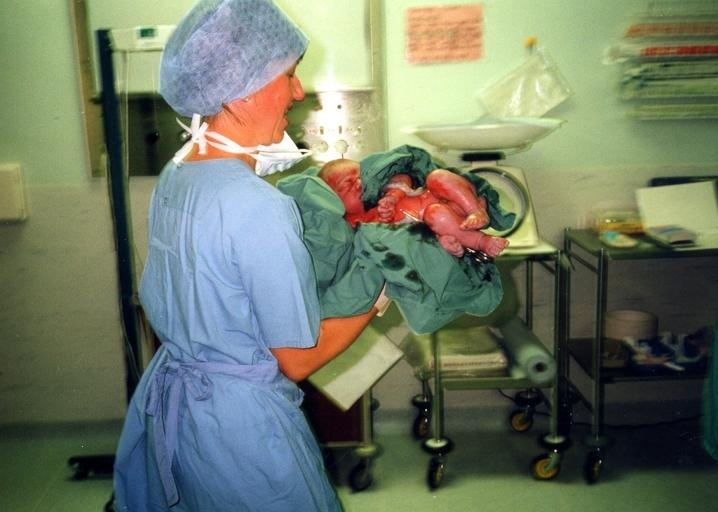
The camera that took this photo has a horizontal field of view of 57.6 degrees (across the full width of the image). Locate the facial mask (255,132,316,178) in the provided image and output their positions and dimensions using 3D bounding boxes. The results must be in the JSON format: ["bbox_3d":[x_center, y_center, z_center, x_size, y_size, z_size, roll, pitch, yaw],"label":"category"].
[{"bbox_3d":[-0.241,-0.291,1.875,0.225,0.108,0.150,-10,15,-22],"label":"facial mask"}]

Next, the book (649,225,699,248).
[{"bbox_3d":[1.247,-0.078,2.582,0.160,0.061,0.203,-1,12,7],"label":"book"}]

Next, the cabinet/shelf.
[{"bbox_3d":[0.829,0.420,2.741,1.177,1.003,0.504,-4,13,-4],"label":"cabinet/shelf"}]
